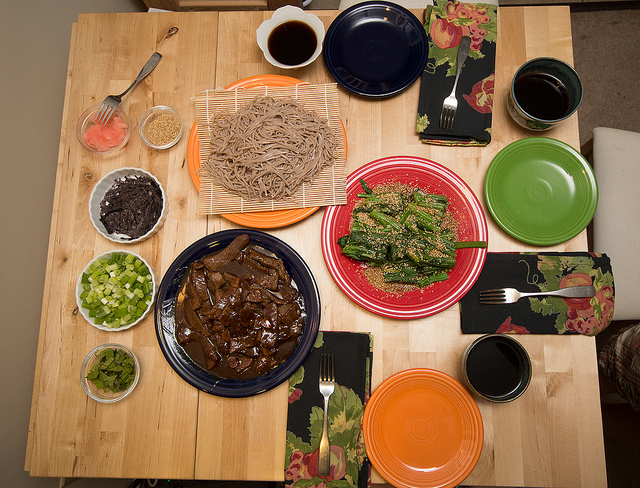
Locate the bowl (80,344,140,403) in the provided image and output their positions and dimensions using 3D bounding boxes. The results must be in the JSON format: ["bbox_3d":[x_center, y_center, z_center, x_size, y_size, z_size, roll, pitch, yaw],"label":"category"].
[{"bbox_3d":[-1.102,0.640,2.924,0.265,0.127,0.318,15,97,-12],"label":"bowl"}]

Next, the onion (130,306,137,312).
[{"bbox_3d":[-1.024,0.351,2.983,0.027,0.011,0.025,5,96,-7],"label":"onion"}]

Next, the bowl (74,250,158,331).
[{"bbox_3d":[-1.131,0.255,3.112,0.373,0.136,0.471,2,92,1],"label":"bowl"}]

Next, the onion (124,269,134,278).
[{"bbox_3d":[-1.042,0.152,2.968,0.038,0.010,0.034,24,89,-11],"label":"onion"}]

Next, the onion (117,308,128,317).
[{"bbox_3d":[-1.081,0.370,2.980,0.039,0.013,0.048,2,90,-6],"label":"onion"}]

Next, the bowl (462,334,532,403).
[{"bbox_3d":[0.924,0.644,2.846,0.308,0.155,0.383,4,82,8],"label":"bowl"}]

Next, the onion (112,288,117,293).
[{"bbox_3d":[-1.124,0.248,2.974,0.019,0.014,0.025,11,80,-1],"label":"onion"}]

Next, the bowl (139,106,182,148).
[{"bbox_3d":[-0.915,-0.671,3.060,0.208,0.093,0.260,-1,86,2],"label":"bowl"}]

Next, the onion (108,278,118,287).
[{"bbox_3d":[-1.132,0.204,2.974,0.031,0.014,0.058,-33,96,0],"label":"onion"}]

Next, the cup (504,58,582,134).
[{"bbox_3d":[1.211,-0.813,2.978,0.312,0.217,0.391,-1,75,11],"label":"cup"}]

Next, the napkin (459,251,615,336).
[{"bbox_3d":[1.206,0.271,3.063,0.667,0.082,0.510,-1,91,2],"label":"napkin"}]

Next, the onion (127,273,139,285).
[{"bbox_3d":[-1.024,0.185,2.970,0.037,0.014,0.057,31,91,-7],"label":"onion"}]

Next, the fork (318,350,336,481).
[{"bbox_3d":[0.026,0.908,2.871,0.065,0.047,0.629,0,85,0],"label":"fork"}]

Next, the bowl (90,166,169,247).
[{"bbox_3d":[-1.063,-0.214,2.938,0.358,0.102,0.462,4,83,0],"label":"bowl"}]
